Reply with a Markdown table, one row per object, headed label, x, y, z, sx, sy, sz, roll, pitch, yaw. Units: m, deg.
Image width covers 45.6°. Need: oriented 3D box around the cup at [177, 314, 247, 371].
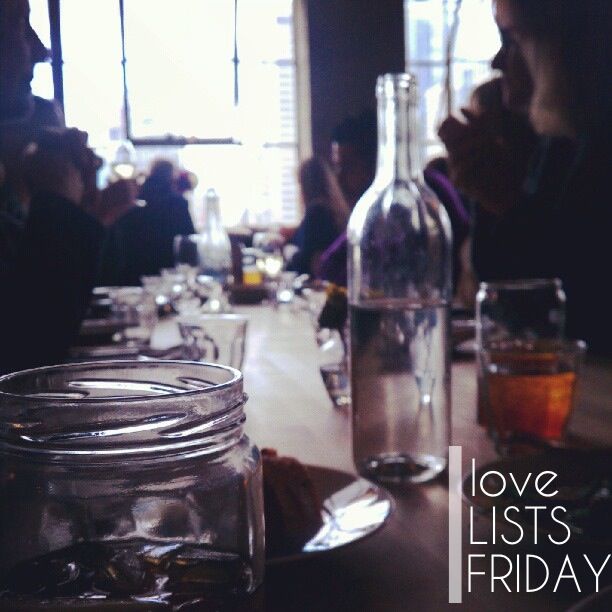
| label | x | y | z | sx | sy | sz | roll | pitch | yaw |
| --- | --- | --- | --- | --- | --- | --- | --- | --- | --- |
| cup | -0.127 | 0.052 | 1.007 | 0.071 | 0.084 | 0.083 | 0 | -4 | -8 |
